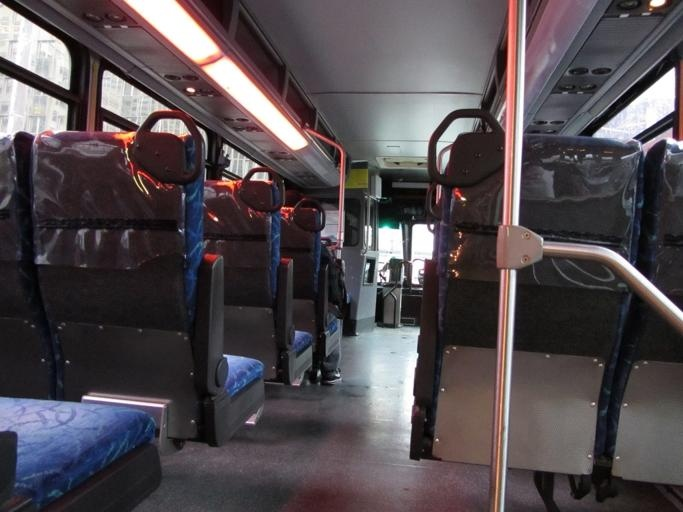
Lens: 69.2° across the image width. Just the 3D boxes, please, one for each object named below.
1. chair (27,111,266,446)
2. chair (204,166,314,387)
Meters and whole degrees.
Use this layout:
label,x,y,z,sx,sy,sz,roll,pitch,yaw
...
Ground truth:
label,x,y,z,sx,sy,sz,roll,pitch,yaw
chair,-0.875,0.116,2.102,0.778,1.426,0.396,2,0,0
chair,-0.617,0.133,3.734,0.955,1.394,1.029,0,3,-30
